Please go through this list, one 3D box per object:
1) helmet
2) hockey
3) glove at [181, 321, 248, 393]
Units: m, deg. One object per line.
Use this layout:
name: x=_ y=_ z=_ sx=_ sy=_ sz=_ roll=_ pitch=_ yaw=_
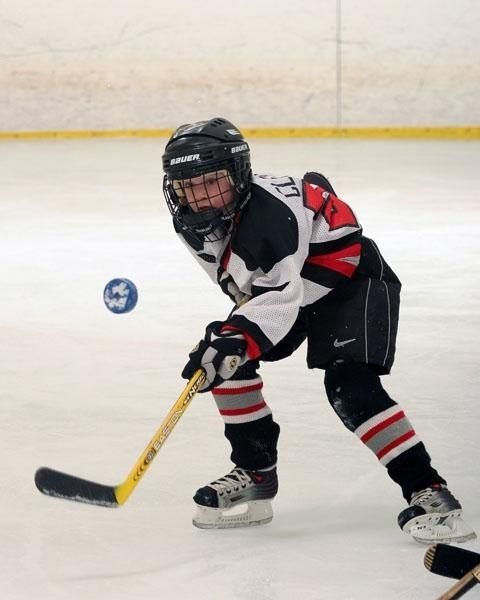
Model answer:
helmet: x=-0.073 y=-0.271 z=1.616 sx=0.193 sy=0.257 sz=0.127 roll=-5 pitch=4 yaw=-4
hockey: x=-0.155 y=0.192 z=1.497 sx=0.148 sy=0.098 sz=0.508 roll=25 pitch=54 yaw=28
glove: x=-0.050 y=0.114 z=1.474 sx=0.067 sy=0.102 sz=0.154 roll=24 pitch=-52 yaw=-34
